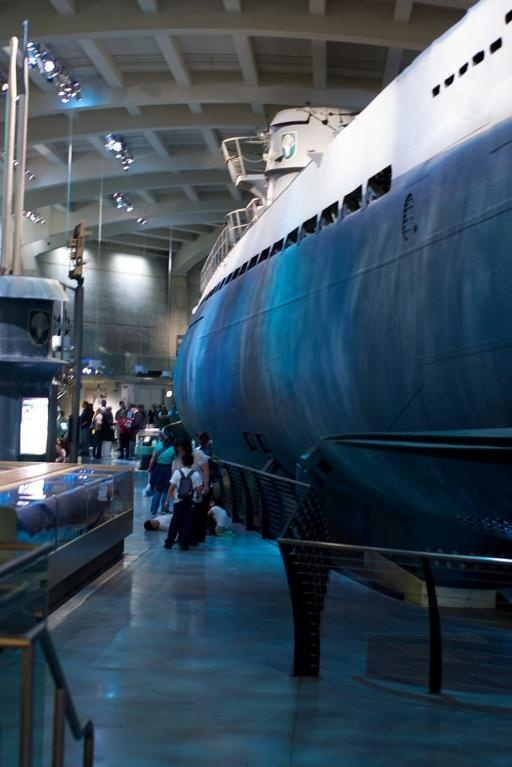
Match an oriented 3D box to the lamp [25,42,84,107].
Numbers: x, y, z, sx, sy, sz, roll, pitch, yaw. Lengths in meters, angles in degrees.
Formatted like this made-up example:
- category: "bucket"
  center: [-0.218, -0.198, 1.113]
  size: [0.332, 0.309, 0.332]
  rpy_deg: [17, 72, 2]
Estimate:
- category: "lamp"
  center: [-5.605, -8.842, 15.142]
  size: [1.138, 1.155, 2.796]
  rpy_deg: [-1, 2, -9]
